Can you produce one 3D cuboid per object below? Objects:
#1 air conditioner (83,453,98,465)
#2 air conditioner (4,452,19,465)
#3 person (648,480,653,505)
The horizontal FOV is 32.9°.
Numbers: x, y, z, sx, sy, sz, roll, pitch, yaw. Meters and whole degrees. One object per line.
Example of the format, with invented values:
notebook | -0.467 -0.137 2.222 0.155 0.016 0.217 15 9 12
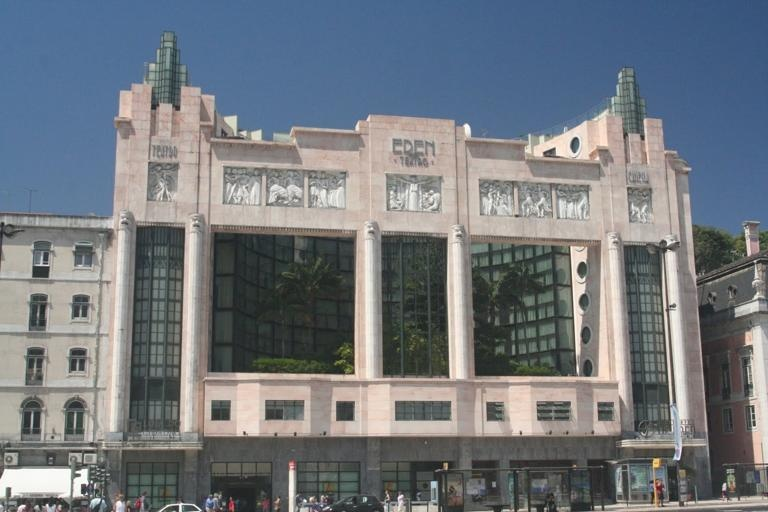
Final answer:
air conditioner | -29.089 20.105 128.788 1.679 0.901 1.162 5 -35 -8
air conditioner | -36.802 20.042 128.566 1.236 1.186 1.222 5 -13 -26
person | 26.891 23.723 131.095 0.568 2.220 0.264 -4 -17 5
